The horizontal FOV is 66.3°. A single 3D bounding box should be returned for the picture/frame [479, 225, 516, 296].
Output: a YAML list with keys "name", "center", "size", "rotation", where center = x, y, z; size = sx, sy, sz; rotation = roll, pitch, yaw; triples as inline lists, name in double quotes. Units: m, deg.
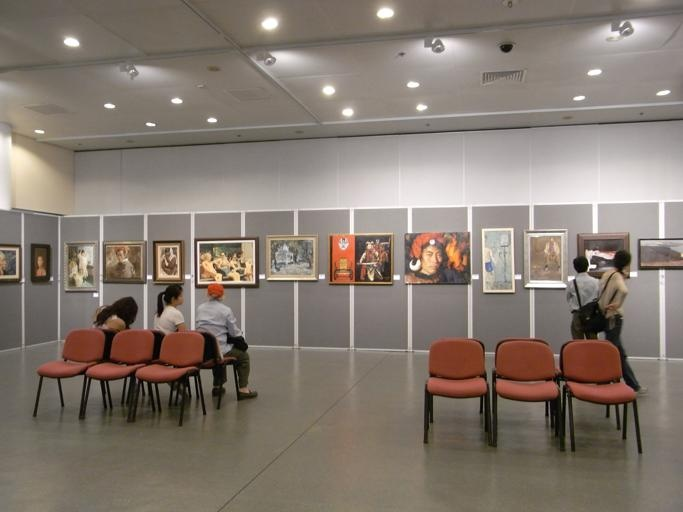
- name: "picture/frame"
  center: [3.672, 0.114, 12.272]
  size: [0.742, 1.486, 0.234]
  rotation: [0, 2, 17]

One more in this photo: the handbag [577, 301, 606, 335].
- name: "handbag"
  center: [4.171, 1.017, 8.712]
  size: [0.285, 0.525, 0.360]
  rotation: [0, -27, -48]

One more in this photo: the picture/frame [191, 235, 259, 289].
- name: "picture/frame"
  center: [-2.924, 0.168, 13.450]
  size: [1.244, 1.024, 0.054]
  rotation: [0, 1, 12]

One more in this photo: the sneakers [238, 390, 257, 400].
- name: "sneakers"
  center: [-1.574, 2.312, 8.737]
  size: [0.311, 0.127, 0.115]
  rotation: [-1, 1, -31]

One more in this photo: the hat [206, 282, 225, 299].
- name: "hat"
  center: [-2.209, 0.629, 8.985]
  size: [0.275, 0.363, 0.381]
  rotation: [2, 8, 0]

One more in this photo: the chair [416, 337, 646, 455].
- name: "chair"
  center: [2.519, 1.793, 7.050]
  size: [2.675, 1.317, 0.882]
  rotation: [0, 2, 7]

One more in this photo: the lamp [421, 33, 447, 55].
- name: "lamp"
  center: [1.519, -3.506, 8.739]
  size: [0.187, 0.236, 0.255]
  rotation: [1, -1, -14]

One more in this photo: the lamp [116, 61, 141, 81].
- name: "lamp"
  center: [-3.892, -3.364, 9.530]
  size: [0.229, 0.110, 0.227]
  rotation: [13, -22, -35]

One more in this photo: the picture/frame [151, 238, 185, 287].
- name: "picture/frame"
  center: [-4.557, 0.191, 13.803]
  size: [1.145, 1.617, 0.120]
  rotation: [0, -1, 10]

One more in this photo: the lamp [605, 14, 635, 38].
- name: "lamp"
  center: [4.436, -3.582, 8.288]
  size: [0.328, 0.162, 0.496]
  rotation: [1, 4, 28]

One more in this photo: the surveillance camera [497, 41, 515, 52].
- name: "surveillance camera"
  center: [2.806, -3.543, 8.916]
  size: [0.230, 0.070, 0.438]
  rotation: [1, 3, 19]

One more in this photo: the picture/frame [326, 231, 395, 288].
- name: "picture/frame"
  center: [0.524, 0.104, 12.890]
  size: [1.228, 0.991, 0.050]
  rotation: [1, 1, 10]

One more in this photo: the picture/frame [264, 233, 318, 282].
- name: "picture/frame"
  center: [-1.237, 0.073, 13.231]
  size: [1.104, 1.038, 0.102]
  rotation: [1, 1, 9]

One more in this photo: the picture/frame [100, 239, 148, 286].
- name: "picture/frame"
  center: [-5.824, 0.205, 14.095]
  size: [1.130, 1.272, 0.089]
  rotation: [0, 1, 12]
